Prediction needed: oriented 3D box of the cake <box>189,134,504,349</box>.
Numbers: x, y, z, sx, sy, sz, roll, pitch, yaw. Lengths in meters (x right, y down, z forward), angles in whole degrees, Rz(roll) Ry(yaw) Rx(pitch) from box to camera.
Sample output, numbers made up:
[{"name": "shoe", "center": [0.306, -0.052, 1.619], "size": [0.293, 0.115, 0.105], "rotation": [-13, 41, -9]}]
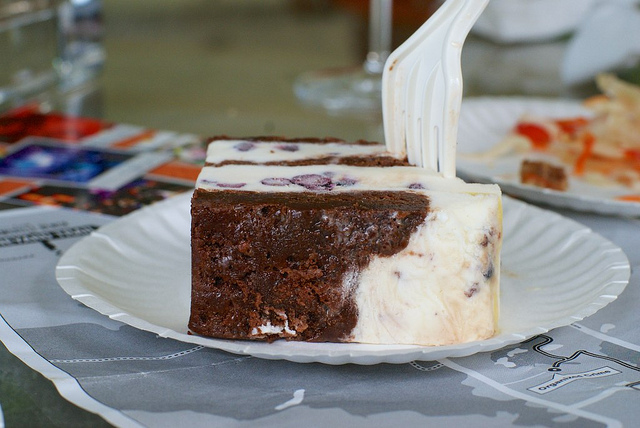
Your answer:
[{"name": "cake", "center": [0.049, 0.052, 1.375], "size": [0.507, 0.211, 0.463], "rotation": [4, 14, 1]}]
